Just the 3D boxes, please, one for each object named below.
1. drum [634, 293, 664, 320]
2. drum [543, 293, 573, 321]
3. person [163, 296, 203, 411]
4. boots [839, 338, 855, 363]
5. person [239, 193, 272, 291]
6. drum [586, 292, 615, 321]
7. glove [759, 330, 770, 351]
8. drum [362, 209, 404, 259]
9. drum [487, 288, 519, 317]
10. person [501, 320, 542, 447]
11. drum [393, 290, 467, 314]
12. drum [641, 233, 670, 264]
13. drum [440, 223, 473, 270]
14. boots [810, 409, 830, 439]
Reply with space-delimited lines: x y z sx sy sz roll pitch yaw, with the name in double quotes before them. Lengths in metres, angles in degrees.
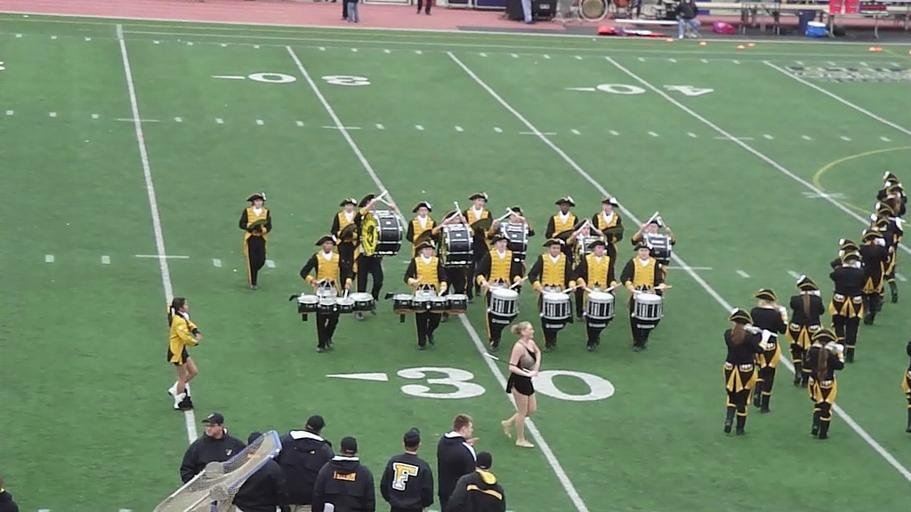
"drum" 5.050 1.330 41.611 0.798 0.541 0.709 1 -2 -8
"drum" 2.650 1.306 41.410 0.780 0.539 0.703 -5 9 -26
"person" -6.600 2.384 38.959 1.094 2.622 1.123 -2 3 -33
"boots" 10.300 2.448 41.458 0.555 0.561 0.656 -2 5 -2
"person" -5.475 -0.426 44.118 1.212 2.365 0.753 3 0 -21
"drum" 3.789 1.315 41.529 0.699 0.681 0.660 2 17 11
"glove" 7.613 2.042 38.935 0.196 0.430 0.354 6 -13 11
"drum" -1.935 -0.569 42.239 0.867 1.202 1.376 -2 9 -28
"drum" 1.303 1.184 41.279 0.812 0.486 0.770 7 4 -1
"person" 1.604 3.078 38.146 0.910 2.987 0.760 -1 18 2
"drum" -0.639 1.236 41.229 1.907 0.643 0.545 -2 17 -6
"drum" 5.385 -0.246 42.727 0.858 0.883 0.999 1 17 5
"drum" 0.058 -0.242 42.393 1.412 1.328 1.049 0 6 -3
"boots" 8.988 4.017 38.952 0.430 0.756 0.461 2 18 10
